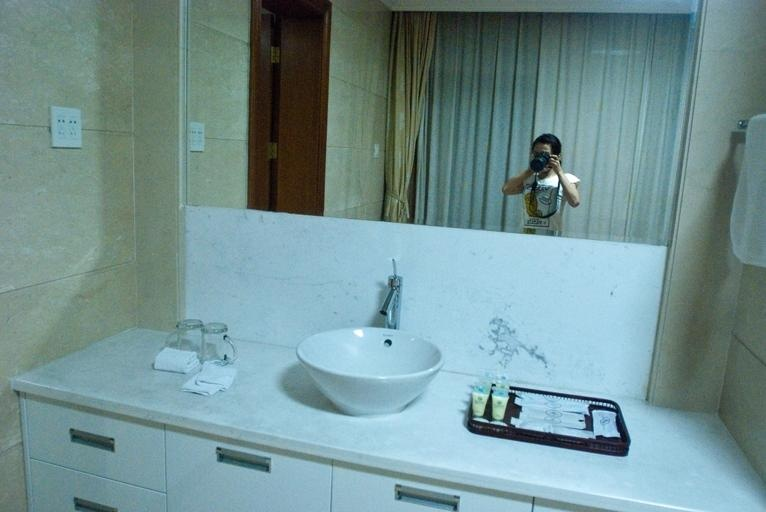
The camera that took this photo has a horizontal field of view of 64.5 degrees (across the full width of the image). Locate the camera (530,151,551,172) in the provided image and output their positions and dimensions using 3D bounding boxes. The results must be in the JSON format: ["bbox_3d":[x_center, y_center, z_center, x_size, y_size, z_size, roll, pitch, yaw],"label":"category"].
[{"bbox_3d":[0.615,-0.373,2.384,0.078,0.070,0.105,8,32,21],"label":"camera"}]

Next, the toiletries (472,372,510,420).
[{"bbox_3d":[0.397,0.516,2.280,0.130,0.127,0.165,3,-1,-4],"label":"toiletries"}]

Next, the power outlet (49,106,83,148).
[{"bbox_3d":[-1.281,-0.525,2.434,0.028,0.200,0.180,2,4,29],"label":"power outlet"}]

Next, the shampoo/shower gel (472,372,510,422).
[{"bbox_3d":[0.409,0.532,2.317,0.162,0.117,0.133,1,0,6],"label":"shampoo/shower gel"}]
